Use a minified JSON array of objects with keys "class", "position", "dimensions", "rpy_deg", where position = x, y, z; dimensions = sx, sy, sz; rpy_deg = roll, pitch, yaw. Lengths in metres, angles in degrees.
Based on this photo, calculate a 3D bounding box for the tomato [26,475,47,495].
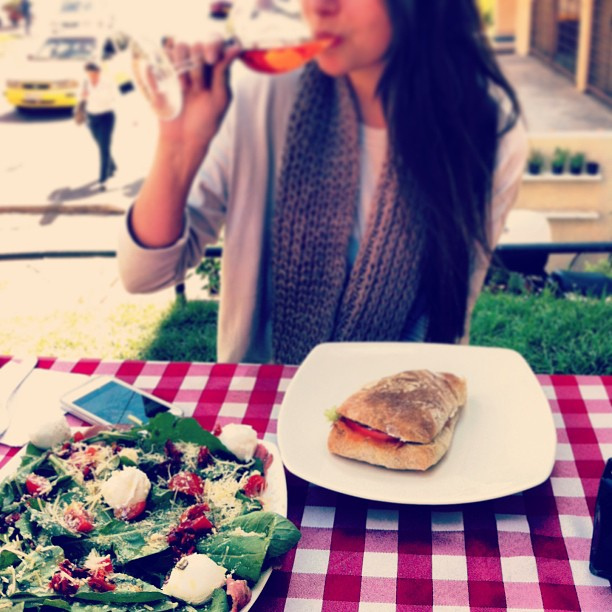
[{"class":"tomato","position":[-0.334,0.215,0.721],"dimensions":[0.017,0.014,0.019],"rpy_deg":[12,5,-3]}]

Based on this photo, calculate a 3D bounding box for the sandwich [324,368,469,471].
[{"class":"sandwich","position":[0.156,0.165,0.976],"dimensions":[0.190,0.109,0.277],"rpy_deg":[0,14,30]}]

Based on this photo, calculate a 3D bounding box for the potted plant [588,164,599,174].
[{"class":"potted plant","position":[2.168,-1.043,4.513],"dimensions":[0.058,0.082,0.065],"rpy_deg":[0,15,2]}]

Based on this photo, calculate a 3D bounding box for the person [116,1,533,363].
[{"class":"person","position":[0.079,-0.201,1.469],"dimensions":[0.597,1.165,0.556],"rpy_deg":[-1,31,-5]}]

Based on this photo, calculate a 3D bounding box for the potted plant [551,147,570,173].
[{"class":"potted plant","position":[1.895,-1.099,4.497],"dimensions":[0.147,0.225,0.158],"rpy_deg":[-3,12,0]}]

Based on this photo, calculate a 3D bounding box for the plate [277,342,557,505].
[{"class":"plate","position":[0.156,0.186,0.929],"dimensions":[0.224,0.055,0.299],"rpy_deg":[5,22,12]}]

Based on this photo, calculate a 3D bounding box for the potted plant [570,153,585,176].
[{"class":"potted plant","position":[2.030,-1.075,4.471],"dimensions":[0.083,0.130,0.089],"rpy_deg":[-15,37,-18]}]

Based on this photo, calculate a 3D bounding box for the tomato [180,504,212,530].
[{"class":"tomato","position":[-0.129,0.242,0.673],"dimensions":[0.034,0.017,0.030],"rpy_deg":[-12,36,-12]}]

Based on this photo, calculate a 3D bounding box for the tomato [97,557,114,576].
[{"class":"tomato","position":[-0.212,0.271,0.619],"dimensions":[0.010,0.016,0.013],"rpy_deg":[-5,12,4]}]

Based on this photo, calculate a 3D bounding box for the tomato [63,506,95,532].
[{"class":"tomato","position":[-0.260,0.241,0.667],"dimensions":[0.025,0.011,0.027],"rpy_deg":[28,23,-47]}]
